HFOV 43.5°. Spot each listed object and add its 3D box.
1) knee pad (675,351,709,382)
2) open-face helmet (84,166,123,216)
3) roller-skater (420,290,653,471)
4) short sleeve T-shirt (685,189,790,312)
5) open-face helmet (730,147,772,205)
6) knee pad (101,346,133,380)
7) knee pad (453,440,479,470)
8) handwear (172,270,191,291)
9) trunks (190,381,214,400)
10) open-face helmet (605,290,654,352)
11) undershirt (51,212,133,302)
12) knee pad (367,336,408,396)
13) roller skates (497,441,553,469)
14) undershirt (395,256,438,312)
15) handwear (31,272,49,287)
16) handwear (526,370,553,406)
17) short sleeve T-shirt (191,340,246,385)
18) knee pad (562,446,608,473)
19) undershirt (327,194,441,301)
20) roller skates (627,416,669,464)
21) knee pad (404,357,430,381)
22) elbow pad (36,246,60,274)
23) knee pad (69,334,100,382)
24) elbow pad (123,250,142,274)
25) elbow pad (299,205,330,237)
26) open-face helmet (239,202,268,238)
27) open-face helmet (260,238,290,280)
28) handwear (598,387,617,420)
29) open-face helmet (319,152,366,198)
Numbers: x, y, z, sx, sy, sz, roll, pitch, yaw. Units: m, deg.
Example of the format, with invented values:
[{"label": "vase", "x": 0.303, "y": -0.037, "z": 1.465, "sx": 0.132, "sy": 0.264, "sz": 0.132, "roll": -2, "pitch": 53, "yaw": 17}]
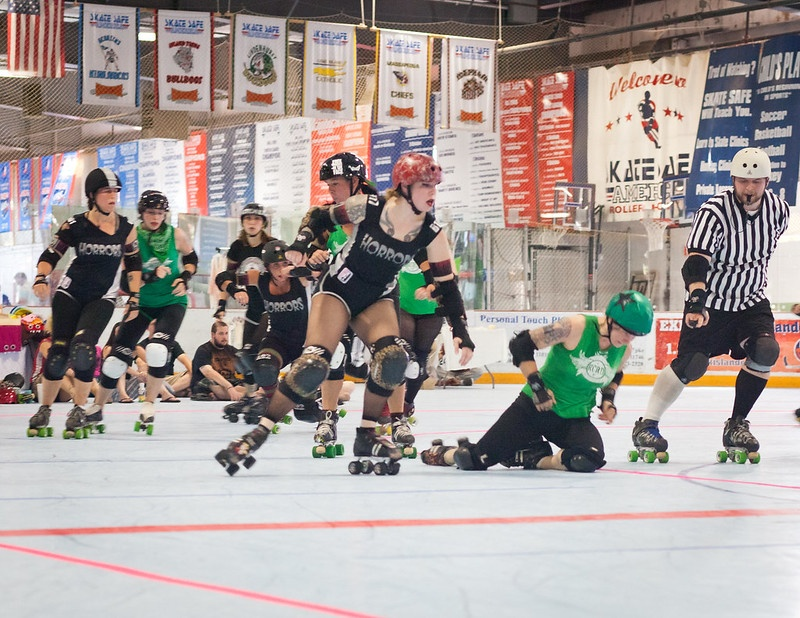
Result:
[{"label": "knee pad", "x": 1.980, "y": 0.397, "z": 6.939, "sx": 0.194, "sy": 0.144, "sz": 0.221, "roll": 18, "pitch": -11, "yaw": -16}, {"label": "open-face helmet", "x": -2.334, "y": -0.914, "z": 7.631, "sx": 0.264, "sy": 0.241, "sz": 0.202, "roll": -11, "pitch": -3, "yaw": -34}, {"label": "roller-skater", "x": 0.862, "y": 0.513, "z": 6.540, "sx": 0.898, "sy": 1.189, "sz": 1.903, "roll": 18, "pitch": -11, "yaw": -31}, {"label": "short sleeve T-shirt", "x": 2.276, "y": -0.399, "z": 6.816, "sx": 0.708, "sy": 0.827, "sz": 0.221, "roll": 0, "pitch": 4, "yaw": -19}, {"label": "open-face helmet", "x": 2.311, "y": -0.897, "z": 6.646, "sx": 0.299, "sy": 0.382, "sz": 0.398, "roll": 2, "pitch": 5, "yaw": 11}, {"label": "knee pad", "x": -2.291, "y": 0.439, "z": 8.096, "sx": 0.166, "sy": 0.204, "sz": 0.075, "roll": 19, "pitch": -45, "yaw": -11}, {"label": "knee pad", "x": 0.414, "y": 0.915, "z": 6.239, "sx": 0.144, "sy": 0.079, "sz": 0.180, "roll": 4, "pitch": 2, "yaw": 9}, {"label": "handwear", "x": -1.812, "y": -0.244, "z": 8.360, "sx": 0.115, "sy": 0.168, "sz": 0.049, "roll": 29, "pitch": 6, "yaw": -9}, {"label": "trunks", "x": -2.393, "y": 0.987, "z": 12.164, "sx": 0.307, "sy": 0.246, "sz": 0.199, "roll": 5, "pitch": -9, "yaw": -21}, {"label": "open-face helmet", "x": 1.379, "y": 0.049, "z": 6.095, "sx": 0.269, "sy": 0.316, "sz": 0.232, "roll": 2, "pitch": 4, "yaw": 8}, {"label": "undershirt", "x": -2.337, "y": -0.396, "z": 7.792, "sx": 0.690, "sy": 0.679, "sz": 0.307, "roll": 6, "pitch": 5, "yaw": -13}, {"label": "knee pad", "x": -0.063, "y": 0.319, "z": 6.048, "sx": 0.266, "sy": 0.327, "sz": 0.125, "roll": -29, "pitch": -52, "yaw": 19}, {"label": "roller skates", "x": 0.823, "y": 0.921, "z": 6.368, "sx": 0.448, "sy": 0.215, "sz": 0.134, "roll": 1, "pitch": -5, "yaw": -10}, {"label": "undershirt", "x": 0.117, "y": -0.168, "z": 7.030, "sx": 0.378, "sy": 0.397, "sz": 0.251, "roll": 9, "pitch": -16, "yaw": -32}, {"label": "handwear", "x": -2.714, "y": -0.230, "z": 7.615, "sx": 0.096, "sy": 0.049, "sz": 0.135, "roll": 6, "pitch": 13, "yaw": 1}, {"label": "handwear", "x": 0.833, "y": 0.476, "z": 6.064, "sx": 0.152, "sy": 0.191, "sz": 0.063, "roll": -31, "pitch": -8, "yaw": 20}, {"label": "short sleeve T-shirt", "x": -2.167, "y": 0.634, "z": 11.940, "sx": 0.712, "sy": 0.519, "sz": 0.392, "roll": -3, "pitch": 13, "yaw": -41}, {"label": "knee pad", "x": 1.104, "y": 0.910, "z": 6.167, "sx": 0.198, "sy": 0.081, "sz": 0.189, "roll": 1, "pitch": 0, "yaw": -8}, {"label": "undershirt", "x": -0.113, "y": -0.391, "z": 6.116, "sx": 0.704, "sy": 0.498, "sz": 0.353, "roll": 15, "pitch": 20, "yaw": -37}, {"label": "roller skates", "x": 1.635, "y": 0.870, "z": 6.642, "sx": 0.213, "sy": 0.298, "sz": 0.341, "roll": 3, "pitch": -5, "yaw": -24}, {"label": "knee pad", "x": 0.099, "y": 0.414, "z": 7.169, "sx": 0.156, "sy": 0.092, "sz": 0.196, "roll": 6, "pitch": -8, "yaw": -31}, {"label": "elbow pad", "x": -2.738, "y": -0.380, "z": 7.827, "sx": 0.169, "sy": 0.202, "sz": 0.086, "roll": 24, "pitch": 8, "yaw": -27}, {"label": "knee pad", "x": -2.358, "y": 0.348, "z": 7.534, "sx": 0.216, "sy": 0.204, "sz": 0.376, "roll": -8, "pitch": 24, "yaw": -12}, {"label": "elbow pad", "x": -2.114, "y": -0.375, "z": 7.976, "sx": 0.164, "sy": 0.221, "sz": 0.188, "roll": 1, "pitch": 6, "yaw": -1}, {"label": "elbow pad", "x": -0.504, "y": -0.537, "z": 6.090, "sx": 0.218, "sy": 0.157, "sz": 0.089, "roll": -15, "pitch": -30, "yaw": 1}, {"label": "open-face helmet", "x": -1.223, "y": -0.796, "z": 8.542, "sx": 0.197, "sy": 0.214, "sz": 0.234, "roll": 0, "pitch": -14, "yaw": -3}, {"label": "open-face helmet", "x": -0.849, "y": -0.358, "z": 6.845, "sx": 0.214, "sy": 0.226, "sz": 0.259, "roll": -7, "pitch": 2, "yaw": -23}, {"label": "handwear", "x": 1.315, "y": 0.597, "z": 6.357, "sx": 0.096, "sy": 0.190, "sz": 0.147, "roll": -11, "pitch": -13, "yaw": 18}, {"label": "open-face helmet", "x": -0.368, "y": -0.905, "z": 6.739, "sx": 0.346, "sy": 0.269, "sz": 0.257, "roll": 1, "pitch": -4, "yaw": -28}]
